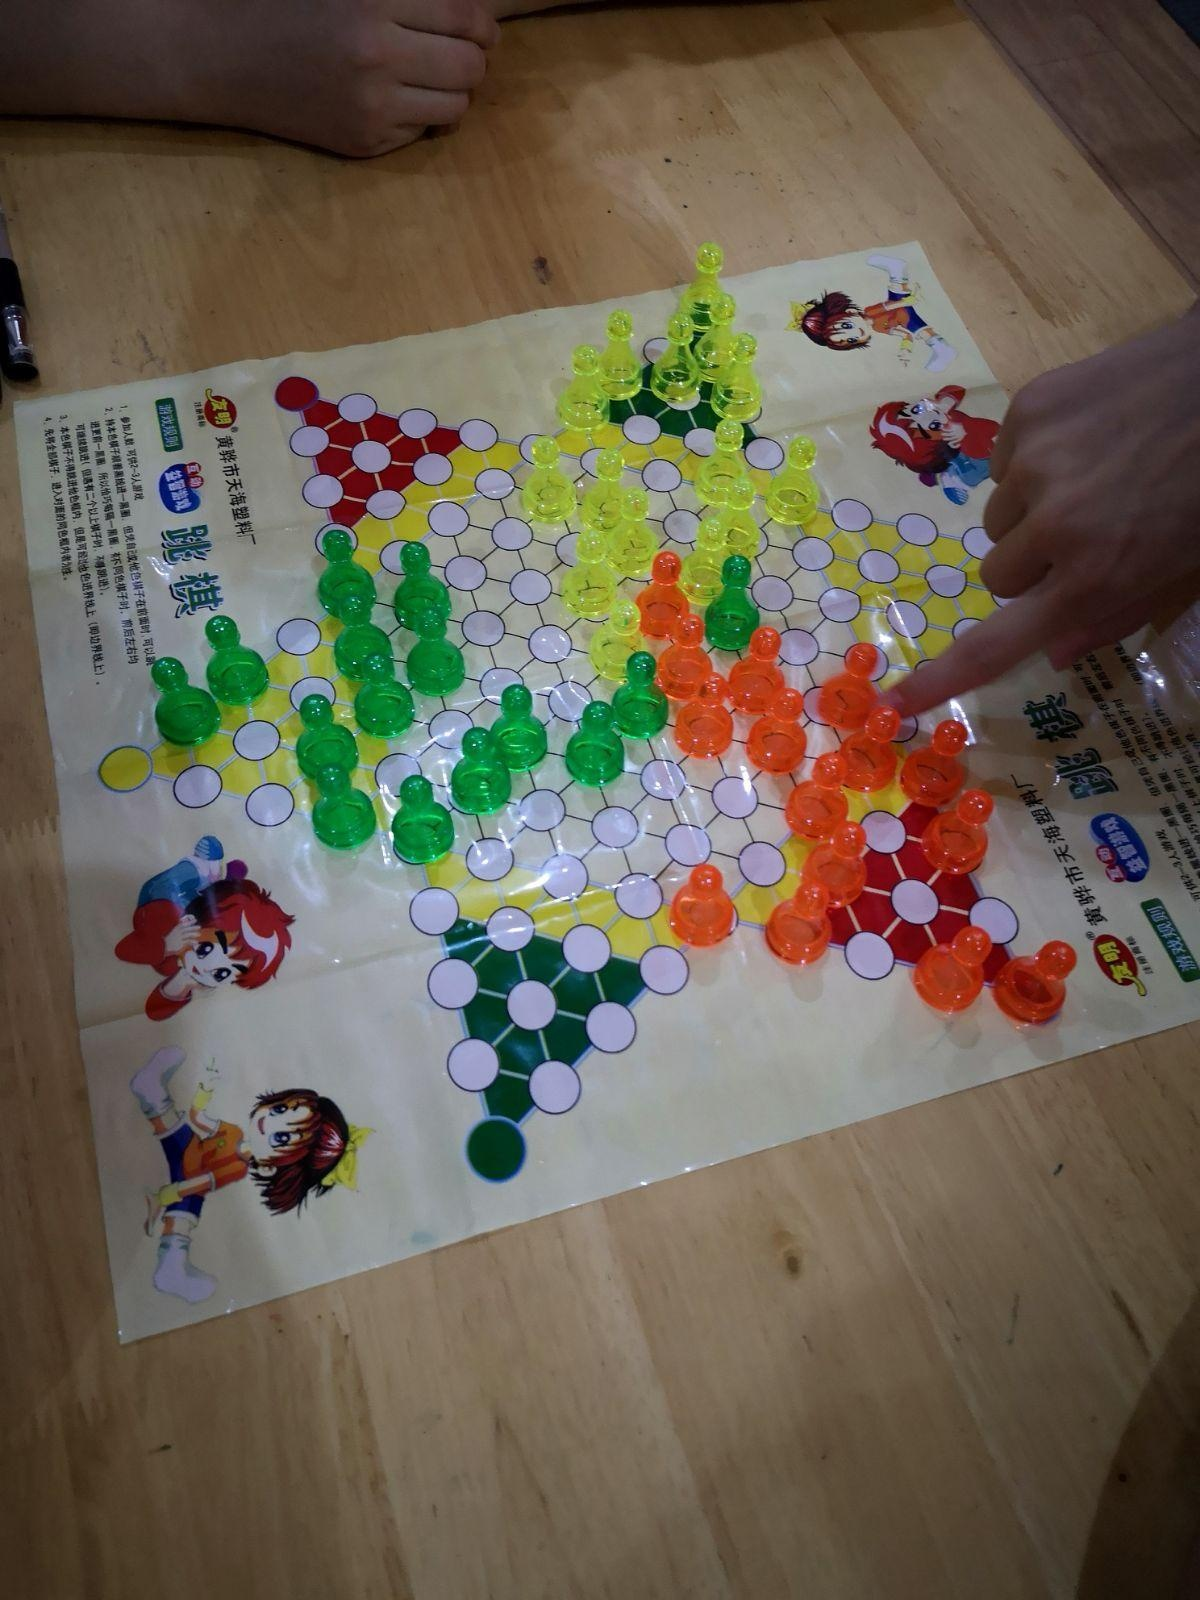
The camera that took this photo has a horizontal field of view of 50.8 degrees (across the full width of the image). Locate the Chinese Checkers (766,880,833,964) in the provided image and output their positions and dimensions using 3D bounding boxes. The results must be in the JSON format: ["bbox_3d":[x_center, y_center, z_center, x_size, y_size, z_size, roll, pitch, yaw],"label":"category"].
[{"bbox_3d":[0.152,0.096,1.026,0.057,0.061,0.064,2,67,1],"label":"Chinese Checkers"}]
